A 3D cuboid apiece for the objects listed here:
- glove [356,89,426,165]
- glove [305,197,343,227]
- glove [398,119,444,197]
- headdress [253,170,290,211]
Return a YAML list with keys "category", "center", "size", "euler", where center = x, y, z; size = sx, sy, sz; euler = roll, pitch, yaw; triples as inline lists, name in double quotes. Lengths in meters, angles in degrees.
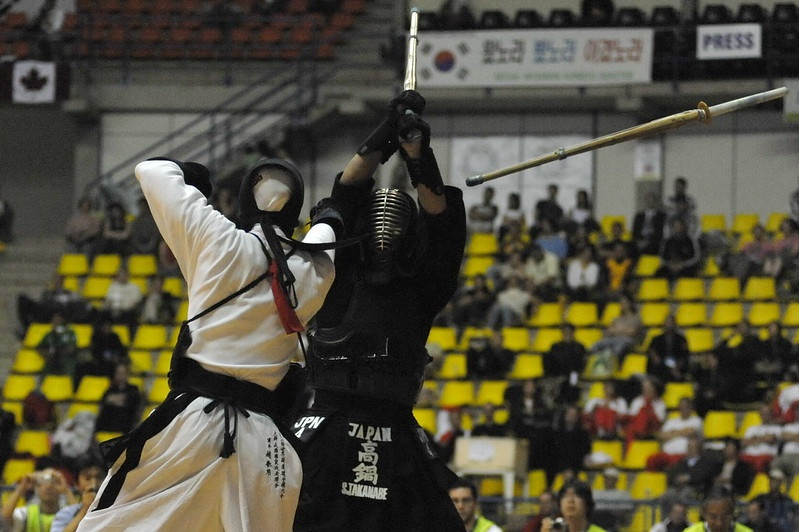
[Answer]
- category: "glove"
  center: [-0.071, -1.639, 29.901]
  size: [0.809, 0.795, 0.307]
  euler: [-2, -4, 32]
- category: "glove"
  center: [-0.840, -0.651, 29.718]
  size: [0.427, 0.312, 0.545]
  euler: [-1, 31, 0]
- category: "glove"
  center: [0.240, -1.243, 29.953]
  size: [0.307, 1.038, 0.315]
  euler: [-6, 34, 20]
- category: "headdress"
  center: [-1.438, -0.850, 29.612]
  size: [0.357, 0.476, 0.474]
  euler: [7, -5, 3]
